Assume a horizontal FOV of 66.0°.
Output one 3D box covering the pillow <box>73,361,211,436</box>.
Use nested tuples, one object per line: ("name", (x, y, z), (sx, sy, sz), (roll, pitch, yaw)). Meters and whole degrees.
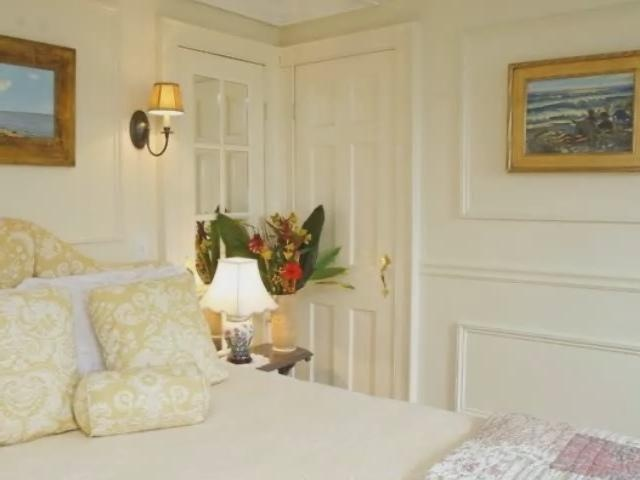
("pillow", (-0.695, 0.568, 1.884), (0.419, 0.226, 0.199), (8, -7, -30))

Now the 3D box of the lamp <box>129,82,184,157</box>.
("lamp", (-0.957, -0.694, 2.860), (0.285, 0.391, 0.324), (-1, 1, -21))

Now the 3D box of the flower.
("flower", (-0.332, 0.072, 3.379), (0.743, 0.400, 0.753), (11, -2, 34))

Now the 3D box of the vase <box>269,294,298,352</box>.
("vase", (-0.246, 0.576, 3.280), (0.164, 0.342, 0.194), (-1, 11, 11))

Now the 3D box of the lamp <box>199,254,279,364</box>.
("lamp", (-0.472, 0.400, 3.260), (0.525, 0.736, 0.596), (-1, 2, 26))
